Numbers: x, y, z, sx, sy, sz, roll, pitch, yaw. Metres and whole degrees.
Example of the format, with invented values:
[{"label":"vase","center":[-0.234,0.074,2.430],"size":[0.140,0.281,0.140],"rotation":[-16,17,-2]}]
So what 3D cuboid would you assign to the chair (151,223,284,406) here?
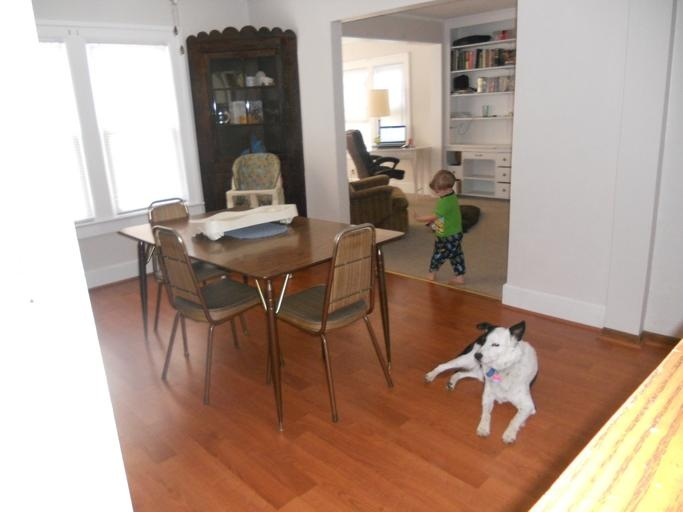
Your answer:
[{"label":"chair","center":[-0.677,0.250,2.677],"size":[0.556,0.826,0.482],"rotation":[-7,13,-36]}]

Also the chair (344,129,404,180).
[{"label":"chair","center":[0.443,-1.242,6.791],"size":[0.773,0.855,0.664],"rotation":[-6,13,-17]}]

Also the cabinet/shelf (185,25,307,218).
[{"label":"cabinet/shelf","center":[-0.941,-1.139,5.002],"size":[0.939,2.026,0.242],"rotation":[-6,28,-11]}]

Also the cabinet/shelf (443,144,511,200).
[{"label":"cabinet/shelf","center":[2.093,-1.242,7.521],"size":[1.072,0.788,0.376],"rotation":[10,22,37]}]

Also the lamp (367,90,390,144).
[{"label":"lamp","center":[0.575,-2.158,7.964],"size":[0.534,0.908,0.546],"rotation":[-1,17,7]}]

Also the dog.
[{"label":"dog","center":[0.665,0.515,2.359],"size":[0.373,0.373,0.574],"rotation":[-2,22,9]}]

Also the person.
[{"label":"person","center":[0.863,-0.334,4.320],"size":[0.398,0.941,1.007],"rotation":[1,20,14]}]

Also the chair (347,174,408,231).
[{"label":"chair","center":[0.353,-0.498,5.432],"size":[0.666,0.652,0.567],"rotation":[-5,26,-14]}]

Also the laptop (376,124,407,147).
[{"label":"laptop","center":[0.765,-1.842,7.752],"size":[0.524,0.365,0.345],"rotation":[6,11,31]}]

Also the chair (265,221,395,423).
[{"label":"chair","center":[-0.049,0.252,2.547],"size":[0.499,0.932,0.521],"rotation":[13,25,40]}]
